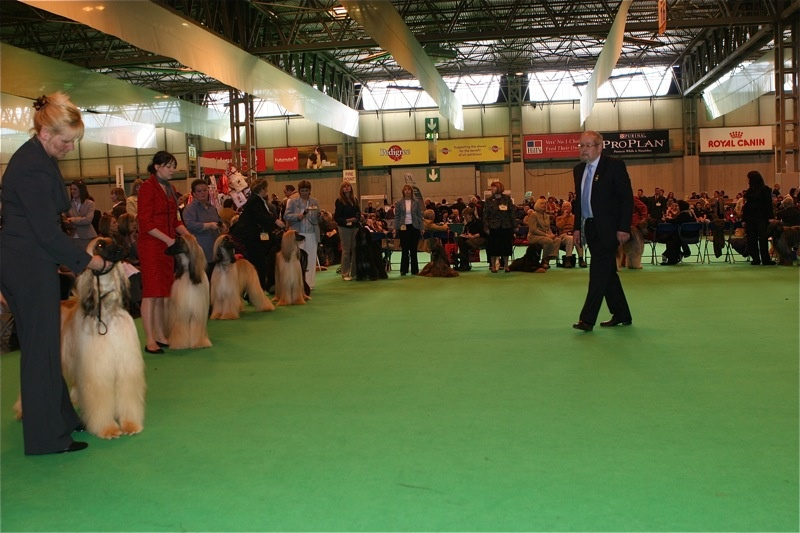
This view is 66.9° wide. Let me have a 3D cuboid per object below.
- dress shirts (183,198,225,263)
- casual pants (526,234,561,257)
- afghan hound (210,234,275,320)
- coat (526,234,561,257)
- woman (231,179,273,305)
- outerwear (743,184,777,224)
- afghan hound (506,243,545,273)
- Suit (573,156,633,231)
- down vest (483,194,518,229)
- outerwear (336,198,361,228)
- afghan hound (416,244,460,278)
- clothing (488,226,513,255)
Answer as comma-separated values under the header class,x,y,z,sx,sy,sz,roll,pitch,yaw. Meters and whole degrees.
class,x,y,z,sx,sy,sz,roll,pitch,yaw
dress shirts,-2.773,-0.535,8.544,0.388,0.753,0.590,6,11,33
casual pants,3.394,-0.512,14.166,0.586,0.291,0.585,6,3,18
afghan hound,-2.503,0.145,9.221,0.718,1.216,1.177,2,4,22
coat,3.393,-0.518,14.157,0.586,0.291,0.585,6,3,18
woman,-2.305,-0.512,10.181,0.714,1.873,0.787,8,19,43
outerwear,8.038,-1.366,13.607,0.681,0.890,0.479,-8,14,4
afghan hound,3.071,-0.142,14.094,0.377,0.490,1.120,-1,-8,-38
Suit,2.368,-0.834,7.062,0.646,0.876,0.452,1,8,19
down vest,2.294,-1.141,13.383,0.631,0.672,0.368,-8,-9,33
outerwear,-1.144,-1.148,13.141,0.553,0.647,0.379,-2,8,-2
afghan hound,1.082,-0.197,14.350,1.131,0.718,0.448,17,13,12
clothing,2.310,-0.583,13.799,0.601,0.572,1.061,3,0,7
